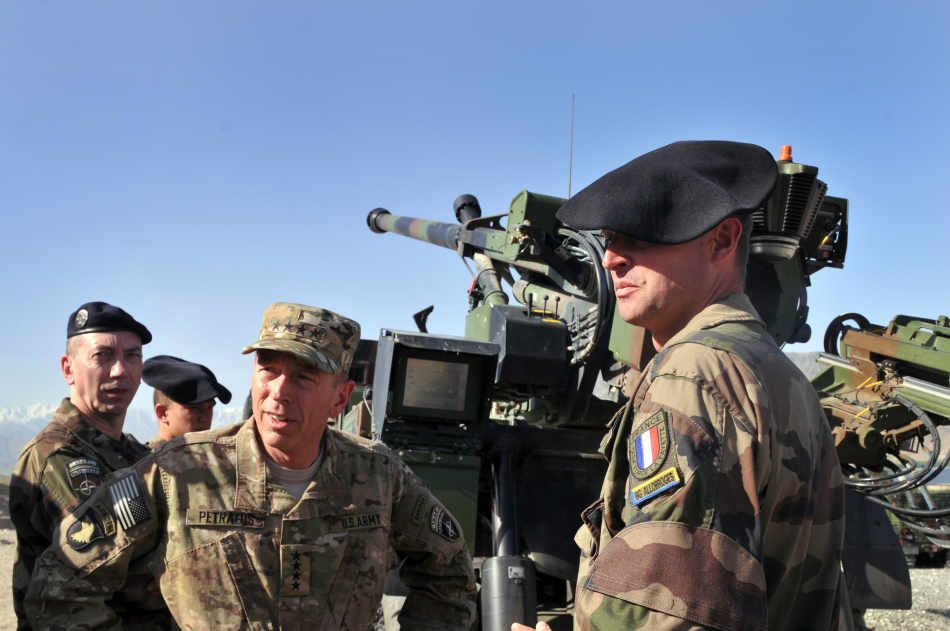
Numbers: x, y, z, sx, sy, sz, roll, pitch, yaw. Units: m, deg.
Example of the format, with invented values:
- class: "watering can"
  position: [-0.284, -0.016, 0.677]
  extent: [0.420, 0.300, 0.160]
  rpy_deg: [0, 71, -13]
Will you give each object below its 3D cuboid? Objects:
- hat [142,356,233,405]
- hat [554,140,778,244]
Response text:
- class: "hat"
  position: [-2.167, 0.489, 6.665]
  extent: [0.589, 0.213, 0.439]
  rpy_deg: [29, 11, 7]
- class: "hat"
  position: [0.784, -0.507, 3.709]
  extent: [0.827, 0.306, 0.733]
  rpy_deg: [2, 17, 19]
